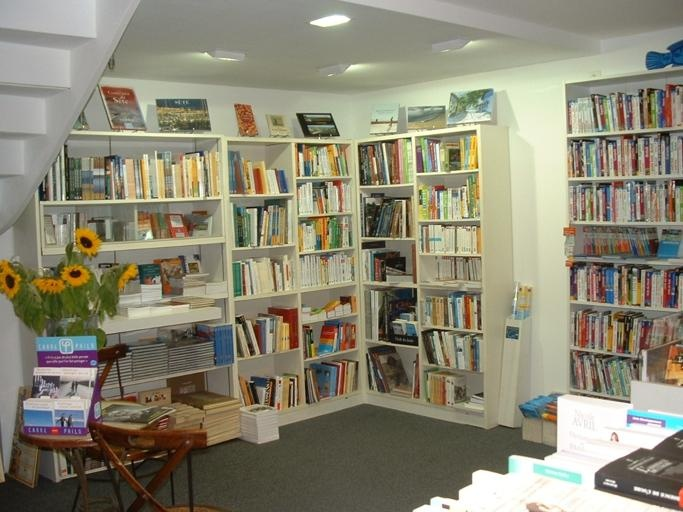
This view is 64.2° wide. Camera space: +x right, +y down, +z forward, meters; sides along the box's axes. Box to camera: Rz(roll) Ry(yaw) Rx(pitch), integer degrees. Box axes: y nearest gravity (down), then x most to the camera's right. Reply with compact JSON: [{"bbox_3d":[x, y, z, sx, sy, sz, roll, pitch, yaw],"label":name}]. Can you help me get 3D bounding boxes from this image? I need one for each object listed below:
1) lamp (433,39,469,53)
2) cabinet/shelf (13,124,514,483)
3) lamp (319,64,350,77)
[{"bbox_3d":[0.949,-1.839,4.757,0.322,0.059,0.149,-1,4,12],"label":"lamp"},{"bbox_3d":[-0.675,0.415,5.115,3.635,2.688,1.826,-2,-1,-41],"label":"cabinet/shelf"},{"bbox_3d":[-0.061,-1.849,5.431,0.150,0.050,0.110,1,-5,44],"label":"lamp"}]
